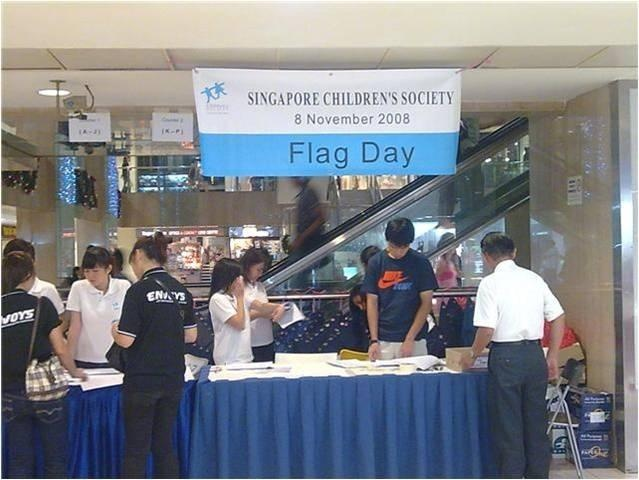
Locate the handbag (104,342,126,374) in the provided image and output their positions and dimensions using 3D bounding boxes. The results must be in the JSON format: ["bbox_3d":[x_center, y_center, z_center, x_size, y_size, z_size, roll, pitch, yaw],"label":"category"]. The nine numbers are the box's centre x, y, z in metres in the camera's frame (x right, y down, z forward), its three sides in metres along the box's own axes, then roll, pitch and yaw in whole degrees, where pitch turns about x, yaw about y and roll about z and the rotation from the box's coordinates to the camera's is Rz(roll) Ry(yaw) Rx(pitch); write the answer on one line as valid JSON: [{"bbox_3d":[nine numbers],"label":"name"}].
[{"bbox_3d":[-1.636,0.958,7.030,0.180,0.334,0.264,1,-10,-12],"label":"handbag"}]

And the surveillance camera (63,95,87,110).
[{"bbox_3d":[-2.396,-1.336,8.526,0.232,0.139,0.126,1,0,-16],"label":"surveillance camera"}]

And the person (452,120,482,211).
[{"bbox_3d":[1.917,-0.857,11.087,0.388,0.996,1.155,0,0,9],"label":"person"}]

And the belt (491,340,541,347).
[{"bbox_3d":[1.691,0.895,7.473,0.417,0.068,0.124,0,0,10],"label":"belt"}]
